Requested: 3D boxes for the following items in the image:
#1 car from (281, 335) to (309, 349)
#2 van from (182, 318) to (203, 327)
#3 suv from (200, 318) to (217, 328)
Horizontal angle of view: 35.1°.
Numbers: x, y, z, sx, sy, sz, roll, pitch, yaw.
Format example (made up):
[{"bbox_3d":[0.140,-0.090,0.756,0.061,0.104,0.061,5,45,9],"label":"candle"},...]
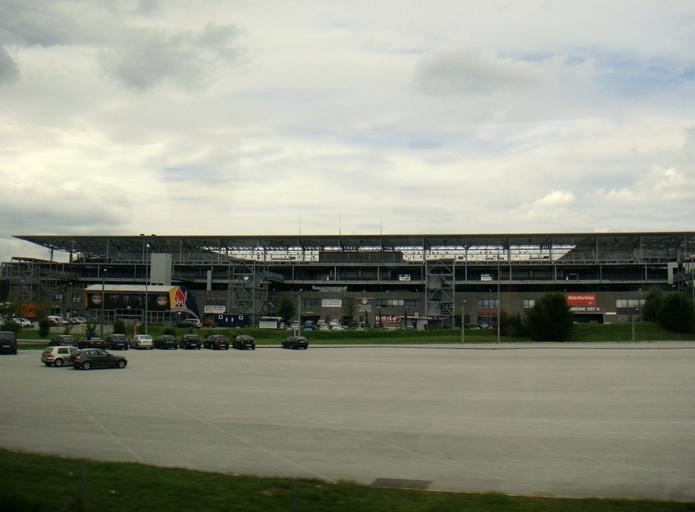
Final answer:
[{"bbox_3d":[-4.705,7.631,96.637,1.074,0.715,2.231,4,-2,-36],"label":"car"},{"bbox_3d":[-18.029,7.612,126.623,2.146,1.056,4.777,0,-5,-6],"label":"van"},{"bbox_3d":[-16.297,7.736,126.542,2.814,0.969,1.296,3,0,38],"label":"suv"}]
